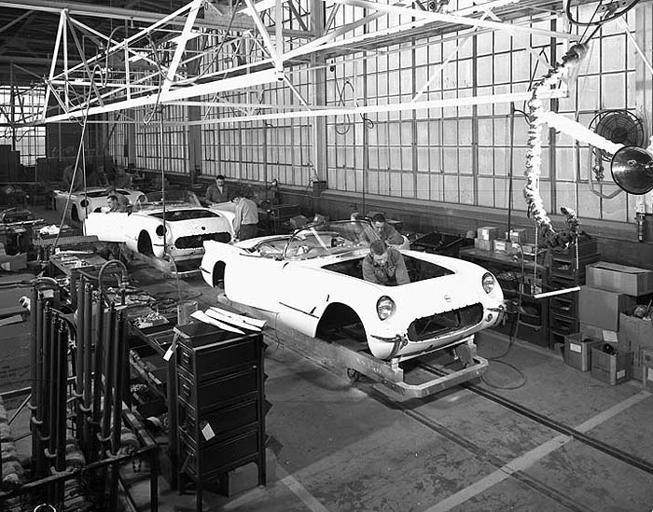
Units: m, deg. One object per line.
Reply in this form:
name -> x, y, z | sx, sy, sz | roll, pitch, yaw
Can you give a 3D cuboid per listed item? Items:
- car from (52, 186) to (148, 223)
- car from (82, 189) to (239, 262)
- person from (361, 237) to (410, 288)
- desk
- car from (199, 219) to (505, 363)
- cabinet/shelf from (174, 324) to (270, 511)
car -> -5.967, -1.332, 13.329 | 1.525, 0.785, 2.877 | -6, 13, -34
car -> -3.451, -0.584, 10.354 | 2.781, 0.938, 1.624 | 12, 13, 39
person -> 0.561, 0.063, 6.243 | 0.565, 0.532, 0.773 | -12, -17, 23
desk -> 2.413, 0.620, 6.833 | 0.423, 1.155, 1.398 | -1, 4, -18
car -> 0.027, 0.348, 6.699 | 1.748, 1.303, 3.619 | -6, 9, -42
cabinet/shelf -> -0.900, 1.303, 4.328 | 0.805, 1.421, 0.523 | -11, 16, -38
